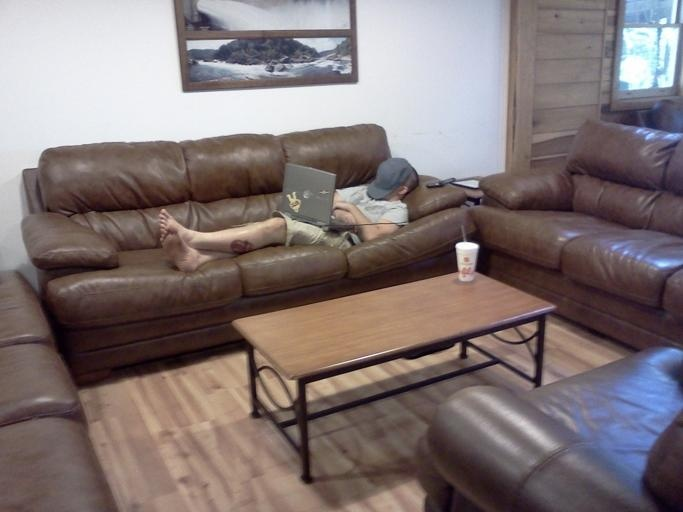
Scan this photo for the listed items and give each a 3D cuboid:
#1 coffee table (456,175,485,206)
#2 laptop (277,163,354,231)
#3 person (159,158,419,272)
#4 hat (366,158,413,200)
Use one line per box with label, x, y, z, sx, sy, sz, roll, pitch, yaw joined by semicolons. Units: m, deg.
coffee table;1.005;-0.501;4.033;0.262;0.116;0.263;-17;31;-26
laptop;-0.204;-0.349;3.264;0.450;0.402;0.354;18;18;24
person;-0.211;-0.201;3.249;1.651;0.517;0.641;-11;33;-20
hat;0.329;-0.519;3.564;0.332;0.163;0.223;-22;43;-5
